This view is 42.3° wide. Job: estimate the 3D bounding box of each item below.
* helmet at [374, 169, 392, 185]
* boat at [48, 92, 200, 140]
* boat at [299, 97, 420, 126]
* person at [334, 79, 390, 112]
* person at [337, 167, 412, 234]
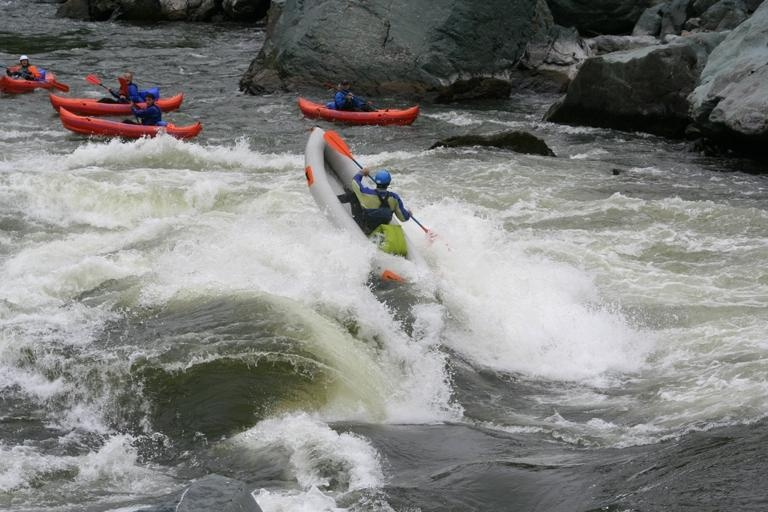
[{"bbox_3d":[0.004,-1.556,19.917,0.301,0.326,0.340,10,32,-5],"label":"helmet"},{"bbox_3d":[-6.143,-3.524,25.515,4.633,0.809,1.054,6,24,0],"label":"boat"},{"bbox_3d":[-1.031,-3.977,27.777,3.994,0.636,0.956,3,19,8],"label":"boat"},{"bbox_3d":[-0.837,-4.416,27.895,1.674,0.728,0.657,20,49,15],"label":"person"},{"bbox_3d":[-0.186,-1.150,20.028,0.790,1.208,1.253,-15,41,-36],"label":"person"}]
